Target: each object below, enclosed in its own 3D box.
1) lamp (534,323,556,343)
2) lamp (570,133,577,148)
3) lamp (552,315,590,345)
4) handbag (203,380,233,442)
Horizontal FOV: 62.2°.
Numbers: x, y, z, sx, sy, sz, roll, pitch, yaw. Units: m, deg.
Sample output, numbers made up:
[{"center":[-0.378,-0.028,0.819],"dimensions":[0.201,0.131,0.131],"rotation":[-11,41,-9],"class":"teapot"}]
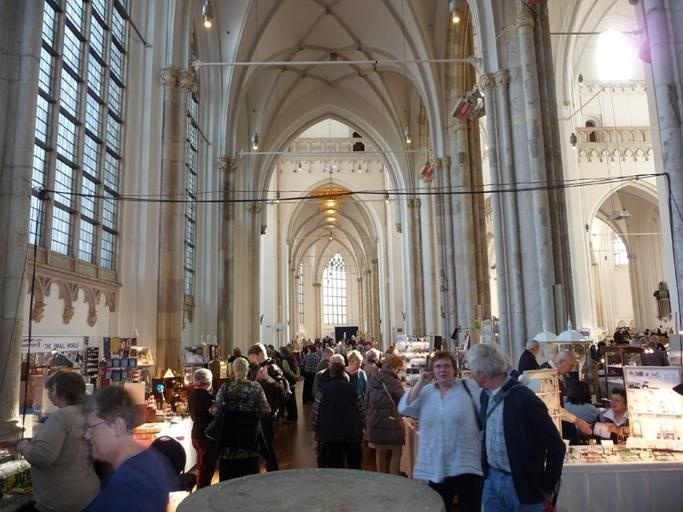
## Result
[{"center":[4.017,1.509,11.176],"dimensions":[0.422,0.330,0.514],"rotation":[-1,-1,3],"class":"lamp"},{"center":[7.894,-4.024,19.340],"dimensions":[0.176,0.477,0.662],"rotation":[-7,-11,19],"class":"lamp"},{"center":[4.022,1.361,10.022],"dimensions":[0.577,0.396,0.591],"rotation":[-3,-5,40],"class":"lamp"},{"center":[-1.508,1.962,7.108],"dimensions":[0.176,0.717,0.377],"rotation":[17,-13,-27],"class":"handbag"}]
